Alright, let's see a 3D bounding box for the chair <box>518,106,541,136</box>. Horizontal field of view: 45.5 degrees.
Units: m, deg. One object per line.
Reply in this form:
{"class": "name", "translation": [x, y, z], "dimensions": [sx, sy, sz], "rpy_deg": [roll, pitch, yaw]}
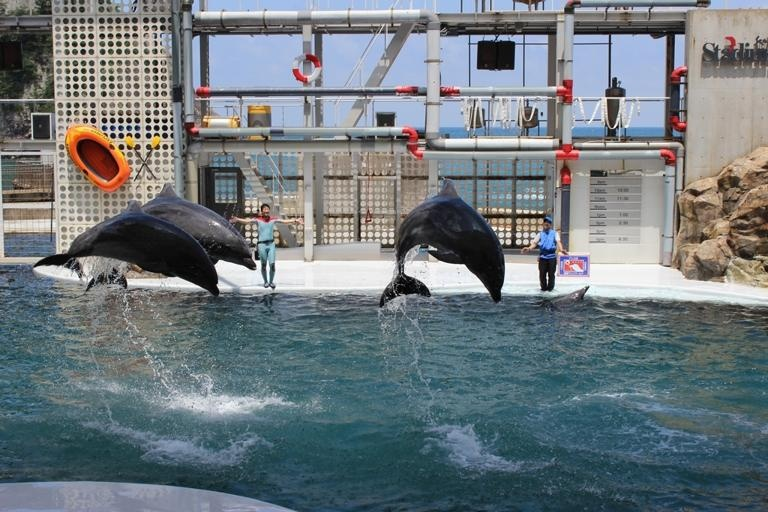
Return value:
{"class": "chair", "translation": [3.618, -3.473, 23.162], "dimensions": [0.514, 0.805, 1.308], "rpy_deg": [1, 4, 9]}

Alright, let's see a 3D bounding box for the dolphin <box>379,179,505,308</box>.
{"class": "dolphin", "translation": [0.981, -0.082, 14.243], "dimensions": [1.238, 1.948, 2.273], "rpy_deg": [-2, 28, -48]}

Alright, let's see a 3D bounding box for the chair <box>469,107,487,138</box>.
{"class": "chair", "translation": [2.308, -3.431, 23.034], "dimensions": [0.379, 0.722, 0.865], "rpy_deg": [1, 3, 11]}

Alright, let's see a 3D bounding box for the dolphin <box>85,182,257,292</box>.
{"class": "dolphin", "translation": [-3.560, -0.328, 13.979], "dimensions": [3.432, 1.380, 1.125], "rpy_deg": [6, 14, 17]}

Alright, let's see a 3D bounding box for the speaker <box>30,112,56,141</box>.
{"class": "speaker", "translation": [-9.811, -3.773, 26.343], "dimensions": [0.639, 0.811, 0.486], "rpy_deg": [0, 3, -13]}

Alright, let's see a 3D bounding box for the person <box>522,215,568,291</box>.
{"class": "person", "translation": [3.523, -0.037, 20.356], "dimensions": [0.856, 1.866, 0.955], "rpy_deg": [0, 0, 18]}

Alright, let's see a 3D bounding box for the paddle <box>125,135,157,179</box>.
{"class": "paddle", "translation": [-6.070, -2.526, 22.843], "dimensions": [1.087, 1.520, 0.054], "rpy_deg": [2, 7, -1]}
